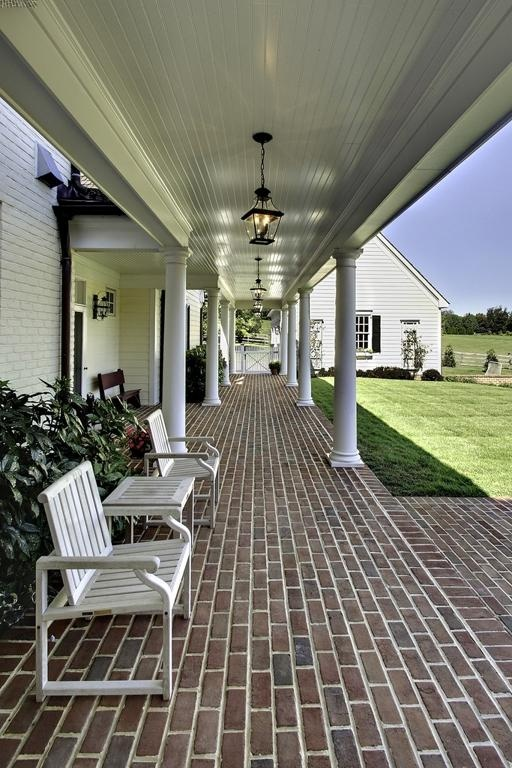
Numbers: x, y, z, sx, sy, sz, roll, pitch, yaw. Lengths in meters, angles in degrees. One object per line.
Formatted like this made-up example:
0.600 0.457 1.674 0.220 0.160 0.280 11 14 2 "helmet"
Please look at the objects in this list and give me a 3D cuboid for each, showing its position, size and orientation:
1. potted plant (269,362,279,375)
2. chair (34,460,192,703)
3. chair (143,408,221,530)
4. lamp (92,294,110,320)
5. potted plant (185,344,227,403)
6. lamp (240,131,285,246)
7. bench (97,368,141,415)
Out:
0.748 -0.693 20.384 0.431 0.520 0.445 1 1 -1 "potted plant"
-0.696 0.847 2.208 0.715 0.849 0.729 1 4 -1 "chair"
-0.658 0.660 4.457 0.770 1.346 1.018 0 0 0 "chair"
-2.919 -1.442 8.978 0.166 0.466 0.923 0 4 -8 "lamp"
-1.605 -0.240 12.745 1.310 1.908 1.341 1 1 -6 "potted plant"
0.058 -1.718 4.129 0.312 1.030 0.337 0 -11 -3 "lamp"
-2.761 0.153 9.681 0.631 0.878 2.180 1 4 -9 "bench"
